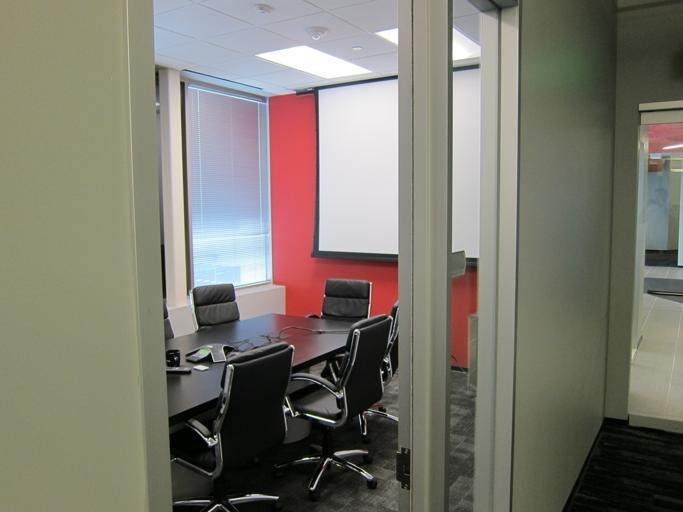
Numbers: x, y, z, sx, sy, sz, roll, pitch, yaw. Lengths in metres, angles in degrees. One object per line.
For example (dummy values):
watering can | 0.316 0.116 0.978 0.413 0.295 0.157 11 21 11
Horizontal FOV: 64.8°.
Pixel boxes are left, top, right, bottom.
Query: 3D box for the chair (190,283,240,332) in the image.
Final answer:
chair | -1.121 0.444 4.590 0.308 0.461 0.369 -5 -4 -41

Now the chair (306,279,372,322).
chair | 0.008 0.401 4.866 0.365 0.545 0.433 0 -5 23

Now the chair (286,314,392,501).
chair | -0.037 0.915 3.429 0.630 1.050 0.679 6 6 44
